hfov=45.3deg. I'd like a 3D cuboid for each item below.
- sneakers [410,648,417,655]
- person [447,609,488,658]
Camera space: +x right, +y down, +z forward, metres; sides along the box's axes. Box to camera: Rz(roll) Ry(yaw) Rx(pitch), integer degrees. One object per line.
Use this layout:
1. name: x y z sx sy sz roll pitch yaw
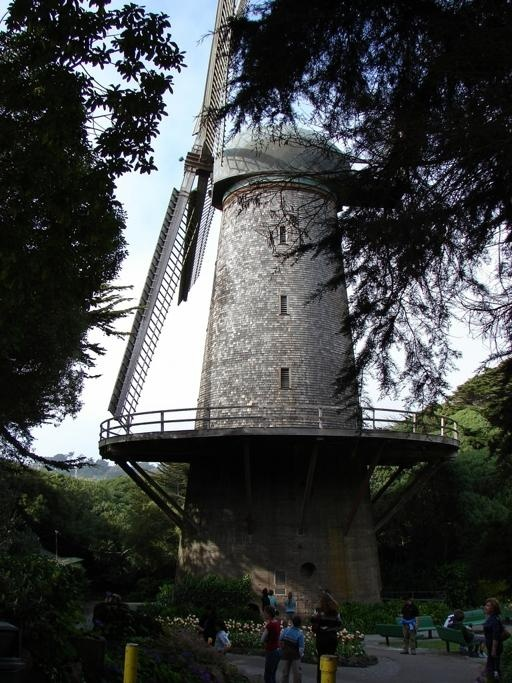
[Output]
1. sneakers: 3.215 6.319 12.564 0.122 0.121 0.550 -4 -27 12
2. person: 4.393 6.079 12.769 0.606 0.950 0.450 7 -27 -23
